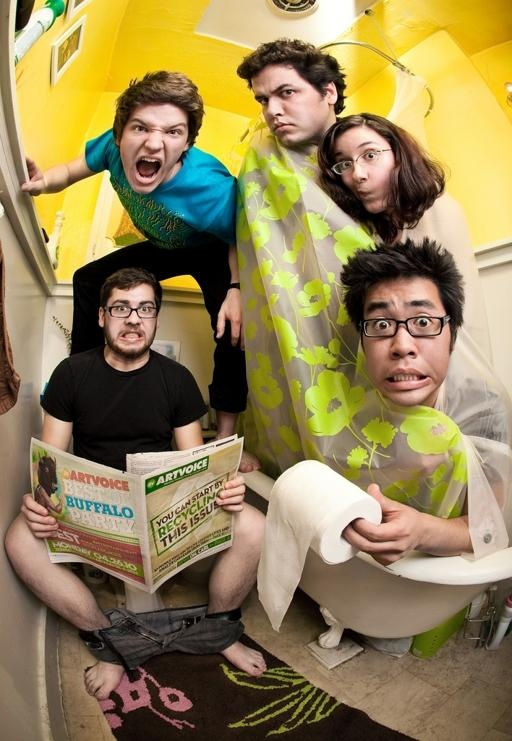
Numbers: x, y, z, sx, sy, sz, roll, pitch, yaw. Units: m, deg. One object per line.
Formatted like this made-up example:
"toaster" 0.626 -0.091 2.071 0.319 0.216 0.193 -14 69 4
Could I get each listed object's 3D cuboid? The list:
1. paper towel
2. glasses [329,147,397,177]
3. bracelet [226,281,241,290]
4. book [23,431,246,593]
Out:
"paper towel" 0.089 0.290 0.845 0.100 0.280 0.166 -2 10 -30
"glasses" 0.216 -0.435 1.144 0.120 0.053 0.036 5 9 10
"bracelet" -0.060 -0.219 1.412 0.036 0.026 0.036 2 11 -5
"book" -0.237 0.262 1.036 0.410 0.298 0.129 -1 31 -17
